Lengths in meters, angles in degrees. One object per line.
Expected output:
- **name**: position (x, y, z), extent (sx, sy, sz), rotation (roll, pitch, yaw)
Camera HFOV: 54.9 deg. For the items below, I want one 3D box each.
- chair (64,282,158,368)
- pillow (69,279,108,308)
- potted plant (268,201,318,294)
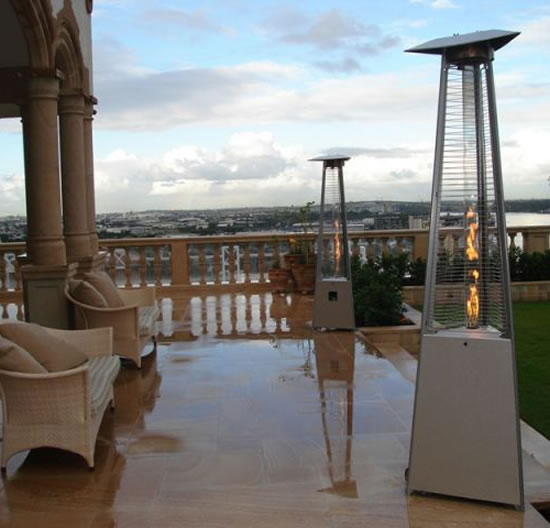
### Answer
- **chair**: position (-1.581, 0.527, 5.158), extent (0.742, 0.645, 0.958), rotation (-1, 12, -11)
- **pillow**: position (-1.689, 0.273, 4.800), extent (0.330, 0.234, 0.205), rotation (-2, 6, -6)
- **potted plant**: position (0.303, -0.296, 9.193), extent (0.780, 1.533, 0.781), rotation (0, 6, 5)
